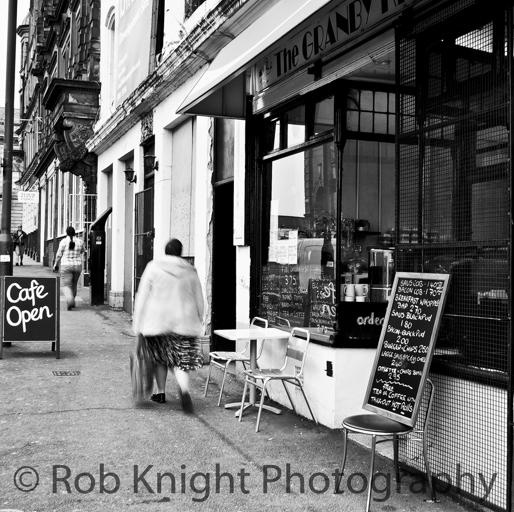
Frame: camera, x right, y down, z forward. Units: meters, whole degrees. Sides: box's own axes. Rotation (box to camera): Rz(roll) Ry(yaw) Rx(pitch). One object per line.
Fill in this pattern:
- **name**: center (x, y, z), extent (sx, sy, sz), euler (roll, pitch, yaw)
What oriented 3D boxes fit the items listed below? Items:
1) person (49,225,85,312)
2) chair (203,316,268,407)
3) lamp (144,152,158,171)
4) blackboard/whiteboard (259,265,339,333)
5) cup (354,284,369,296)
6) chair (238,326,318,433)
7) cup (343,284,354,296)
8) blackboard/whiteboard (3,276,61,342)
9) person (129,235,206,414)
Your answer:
- **person**: center (-4.359, 0.312, 14.654), extent (0.651, 1.967, 1.103), euler (2, 0, -19)
- **chair**: center (-0.218, 1.117, 7.077), extent (0.466, 0.984, 0.555), euler (5, 2, 0)
- **lamp**: center (-2.020, -1.784, 12.072), extent (0.262, 0.319, 0.663), euler (3, 0, -13)
- **blackboard/whiteboard**: center (0.546, 0.499, 7.025), extent (0.429, 0.786, 0.923), euler (4, -6, -21)
- **cup**: center (1.025, 0.332, 6.155), extent (0.078, 0.164, 0.131), euler (7, -8, -33)
- **chair**: center (0.102, 1.179, 6.363), extent (0.714, 1.514, 0.683), euler (4, -6, -21)
- **cup**: center (0.890, 0.320, 6.090), extent (0.099, 0.150, 0.076), euler (-1, -5, 13)
- **blackboard/whiteboard**: center (-3.211, 0.739, 8.933), extent (0.608, 1.124, 0.060), euler (0, 0, -5)
- **person**: center (-0.904, 0.697, 6.318), extent (0.715, 1.741, 0.585), euler (3, 0, -3)
